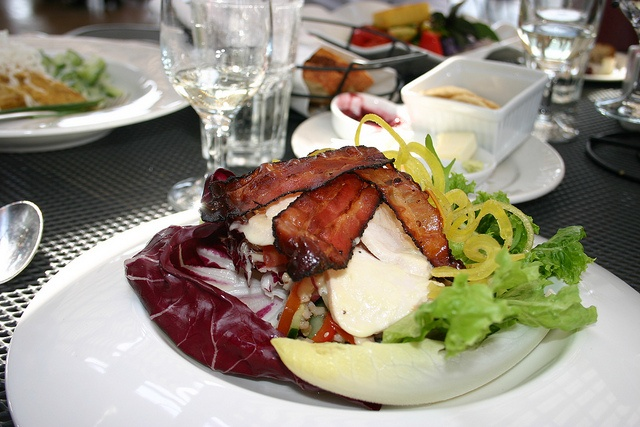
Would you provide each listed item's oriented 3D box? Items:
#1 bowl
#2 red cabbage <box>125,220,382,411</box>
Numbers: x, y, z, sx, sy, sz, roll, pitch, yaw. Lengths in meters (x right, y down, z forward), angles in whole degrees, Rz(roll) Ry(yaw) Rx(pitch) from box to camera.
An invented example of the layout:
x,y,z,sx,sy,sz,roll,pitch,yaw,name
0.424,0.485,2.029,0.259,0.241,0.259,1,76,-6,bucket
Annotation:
x,y,z,sx,sy,sz,roll,pitch,yaw,name
0.141,-0.279,1.336,0.177,0.071,0.180,5,35,-4,bowl
-0.153,0.131,0.889,0.301,0.103,0.470,-15,33,-24,red cabbage
